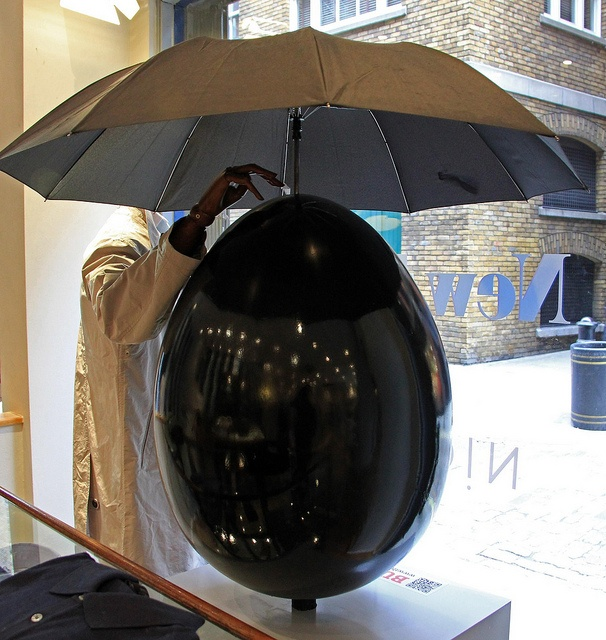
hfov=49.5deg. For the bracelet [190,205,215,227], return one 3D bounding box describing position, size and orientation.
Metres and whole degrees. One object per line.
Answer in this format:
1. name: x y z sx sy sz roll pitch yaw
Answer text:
1. bracelet: -0.131 -0.133 0.853 0.032 0.023 0.046 9 -6 -15
